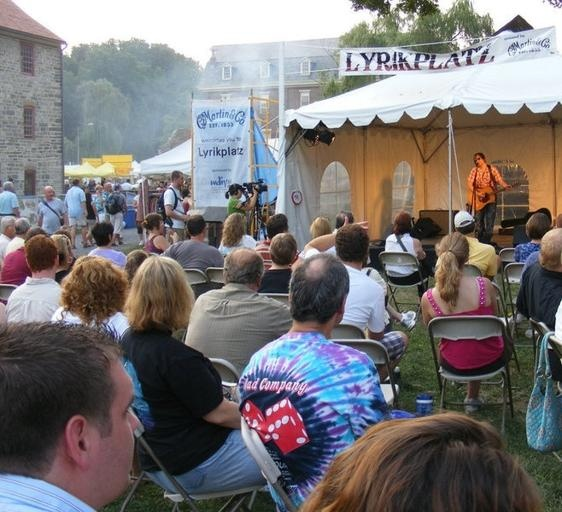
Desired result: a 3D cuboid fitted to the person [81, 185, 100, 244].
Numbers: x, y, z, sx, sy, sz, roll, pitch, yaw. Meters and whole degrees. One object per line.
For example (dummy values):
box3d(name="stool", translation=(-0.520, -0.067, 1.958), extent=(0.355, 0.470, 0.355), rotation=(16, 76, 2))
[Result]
box3d(name="person", translation=(-3.675, -0.790, 14.333), extent=(0.304, 1.118, 0.287), rotation=(6, 4, 34))

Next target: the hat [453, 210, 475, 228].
box3d(name="hat", translation=(1.771, -0.351, 7.348), extent=(0.172, 0.154, 0.287), rotation=(-13, 13, 15))

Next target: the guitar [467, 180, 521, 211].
box3d(name="guitar", translation=(3.269, -0.987, 11.895), extent=(0.731, 0.424, 0.101), rotation=(-27, -13, 38))

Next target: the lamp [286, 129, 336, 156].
box3d(name="lamp", translation=(0.365, -1.599, 10.275), extent=(0.554, 0.313, 0.390), rotation=(-8, 13, -23))

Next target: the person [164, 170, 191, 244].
box3d(name="person", translation=(-1.346, -0.468, 9.989), extent=(0.344, 1.270, 0.407), rotation=(6, 17, 14))

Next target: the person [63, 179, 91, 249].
box3d(name="person", translation=(-3.822, -0.859, 14.153), extent=(0.366, 1.327, 0.381), rotation=(2, 23, -3))

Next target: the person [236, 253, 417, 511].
box3d(name="person", translation=(0.145, 0.381, 2.844), extent=(0.508, 1.081, 0.725), rotation=(4, 15, 12))

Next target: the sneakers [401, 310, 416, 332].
box3d(name="sneakers", translation=(0.856, 0.420, 5.094), extent=(0.072, 0.099, 0.226), rotation=(-12, 15, 20))

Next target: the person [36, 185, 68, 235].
box3d(name="person", translation=(-3.715, -0.447, 12.311), extent=(0.399, 1.363, 0.283), rotation=(-5, -8, -26))

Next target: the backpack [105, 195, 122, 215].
box3d(name="backpack", translation=(-3.271, -0.988, 14.842), extent=(0.236, 0.423, 0.384), rotation=(4, -10, -1))
